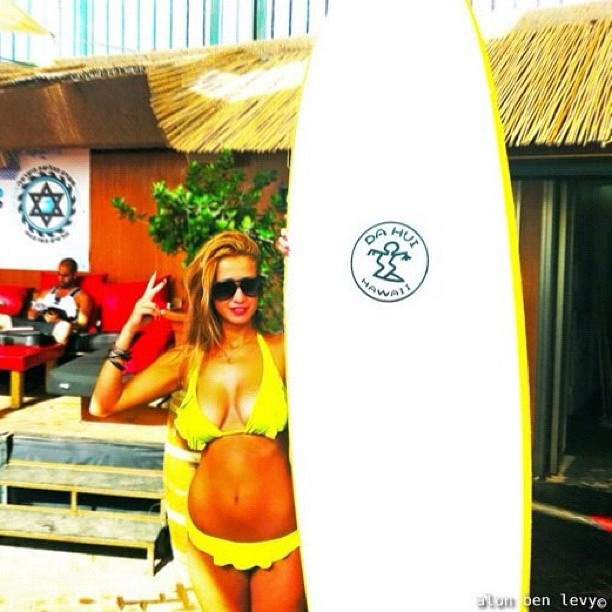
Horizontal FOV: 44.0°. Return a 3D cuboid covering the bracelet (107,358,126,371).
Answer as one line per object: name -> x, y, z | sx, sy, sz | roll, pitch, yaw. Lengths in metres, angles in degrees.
bracelet -> -0.546, 0.168, 2.177 | 0.050, 0.034, 0.031 | 6, -4, -22

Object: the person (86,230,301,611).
person -> -0.296, 0.336, 2.236 | 0.628, 1.093, 0.237 | 5, -4, -16

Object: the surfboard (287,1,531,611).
surfboard -> 0.314, 0.129, 2.452 | 0.485, 2.327, 0.259 | 0, -5, 6

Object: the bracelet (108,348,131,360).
bracelet -> -0.538, 0.137, 2.157 | 0.033, 0.021, 0.040 | 0, 2, 4

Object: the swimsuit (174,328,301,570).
swimsuit -> -0.179, 0.513, 2.246 | 0.314, 0.491, 0.334 | -23, -26, 24
